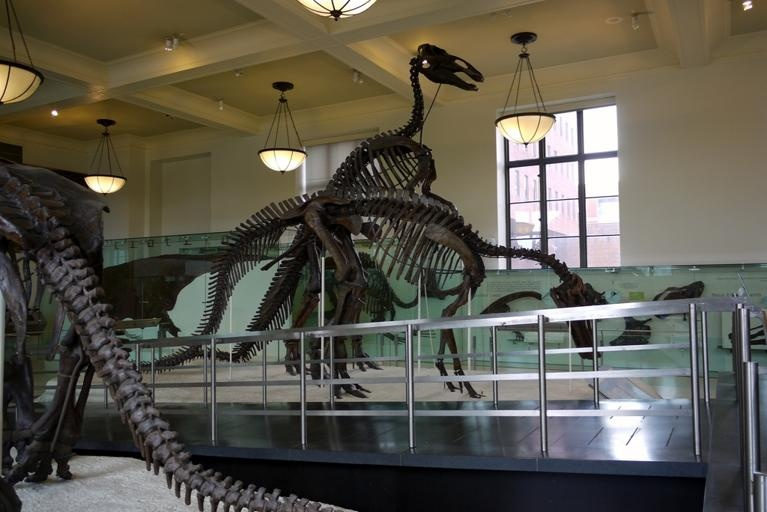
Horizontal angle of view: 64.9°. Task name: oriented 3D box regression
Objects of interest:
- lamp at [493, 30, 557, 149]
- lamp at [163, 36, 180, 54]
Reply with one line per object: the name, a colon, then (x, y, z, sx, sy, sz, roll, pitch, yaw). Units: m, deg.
lamp: (2.423, -2.827, 10.445, 0.908, 1.801, 2.041, -4, 7, 14)
lamp: (-3.488, -3.482, 9.929, 0.279, 0.279, 0.257, 0, 3, 7)
